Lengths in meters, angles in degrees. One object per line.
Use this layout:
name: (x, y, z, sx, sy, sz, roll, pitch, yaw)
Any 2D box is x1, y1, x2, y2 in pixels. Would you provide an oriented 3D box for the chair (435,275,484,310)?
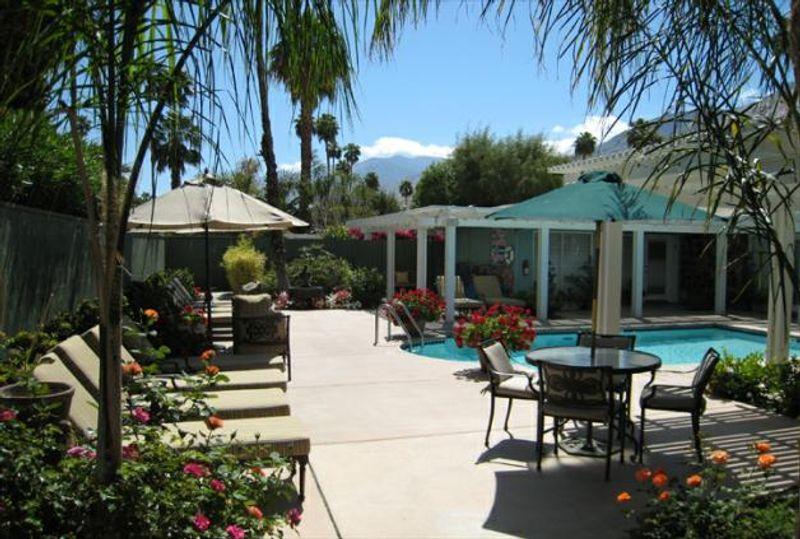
chair: (1.576, 0.605, 15.973, 0.661, 0.859, 1.251, -1, 1, -22)

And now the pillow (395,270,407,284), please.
pillow: (0.033, 0.276, 19.310, 0.455, 0.321, 0.410, -1, -1, -14)

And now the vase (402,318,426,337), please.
vase: (0.234, 1.126, 11.916, 0.362, 0.293, 0.356, -1, -1, 9)

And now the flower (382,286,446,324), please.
flower: (0.192, 0.767, 12.203, 0.874, 0.709, 1.049, -18, -5, 4)

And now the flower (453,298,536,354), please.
flower: (1.469, 1.010, 9.909, 1.189, 0.930, 1.157, -6, -2, 2)

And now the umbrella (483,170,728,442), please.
umbrella: (2.497, 0.045, 7.619, 3.114, 2.544, 3.026, 3, 1, -20)

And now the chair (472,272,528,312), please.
chair: (2.549, 0.572, 16.651, 0.659, 0.692, 1.212, -1, 5, -22)

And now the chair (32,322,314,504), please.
chair: (-1.613, 1.015, 4.357, 1.051, 0.586, 1.354, 2, 4, -17)
